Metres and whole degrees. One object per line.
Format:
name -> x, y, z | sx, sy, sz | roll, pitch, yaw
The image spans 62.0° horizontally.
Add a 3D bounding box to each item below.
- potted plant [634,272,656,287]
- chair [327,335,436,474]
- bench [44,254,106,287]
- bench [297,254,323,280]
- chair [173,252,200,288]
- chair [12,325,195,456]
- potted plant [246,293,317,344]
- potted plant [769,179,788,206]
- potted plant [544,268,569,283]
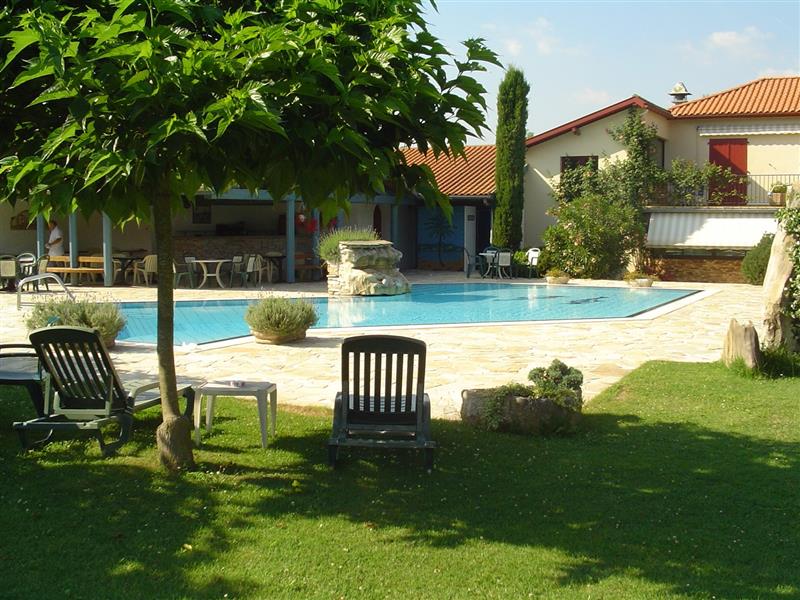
potted plant -> 8.872, -0.543, 24.519 | 0.654, 0.313, 0.683 | 1, -4, -20
chair -> -0.183, 0.937, 6.574 | 0.938, 1.103, 1.748 | 1, 1, 0
bench -> -11.759, -0.945, 24.279 | 1.742, 1.038, 4.557 | -3, 8, -25
bench -> -3.778, -1.139, 28.133 | 1.248, 0.981, 1.828 | -1, 8, -9
chair -> -8.088, -0.925, 25.285 | 0.864, 1.083, 3.531 | -2, 8, -17
chair -> -3.005, 0.860, 6.399 | 1.017, 1.216, 0.868 | 0, 8, -2
potted plant -> -2.387, 0.429, 12.670 | 0.936, 0.729, 0.991 | 1, 0, -29
potted plant -> 16.239, -4.296, 28.658 | 0.644, 1.006, 1.378 | 4, 9, 27
potted plant -> 6.315, -0.765, 26.802 | 0.635, 0.366, 0.647 | 0, -1, -3
